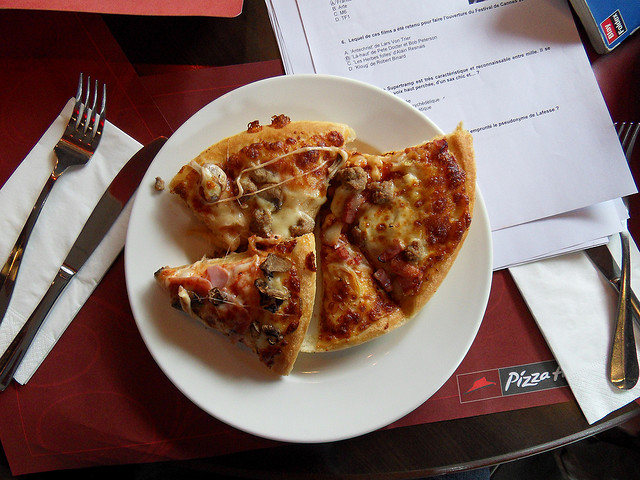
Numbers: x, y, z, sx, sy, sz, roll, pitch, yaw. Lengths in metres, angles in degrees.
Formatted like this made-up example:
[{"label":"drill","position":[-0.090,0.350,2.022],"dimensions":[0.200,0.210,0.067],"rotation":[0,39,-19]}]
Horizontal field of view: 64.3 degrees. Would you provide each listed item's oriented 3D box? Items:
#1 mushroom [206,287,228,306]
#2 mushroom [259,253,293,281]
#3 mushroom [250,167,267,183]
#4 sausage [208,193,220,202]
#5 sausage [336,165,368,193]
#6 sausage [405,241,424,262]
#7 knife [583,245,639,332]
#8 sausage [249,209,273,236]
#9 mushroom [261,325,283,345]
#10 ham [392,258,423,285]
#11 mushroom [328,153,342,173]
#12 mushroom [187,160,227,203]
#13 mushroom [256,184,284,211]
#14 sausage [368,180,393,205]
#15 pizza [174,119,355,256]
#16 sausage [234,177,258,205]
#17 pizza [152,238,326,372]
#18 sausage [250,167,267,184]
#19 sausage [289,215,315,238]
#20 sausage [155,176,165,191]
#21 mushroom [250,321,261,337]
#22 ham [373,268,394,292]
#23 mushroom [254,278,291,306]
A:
[{"label":"mushroom","position":[-0.431,0.238,2.133],"dimensions":[0.095,0.018,0.065],"rotation":[28,85,1]},{"label":"mushroom","position":[-0.187,0.102,2.145],"dimensions":[0.136,0.028,0.097],"rotation":[-20,86,-2]},{"label":"mushroom","position":[-0.262,-0.277,2.179],"dimensions":[0.070,0.025,0.060],"rotation":[-7,85,-1]},{"label":"sausage","position":[-0.454,-0.182,2.179],"dimensions":[0.032,0.009,0.037],"rotation":[0,102,-7]},{"label":"sausage","position":[0.141,-0.261,2.234],"dimensions":[0.134,0.090,0.110],"rotation":[-3,85,-1]},{"label":"sausage","position":[0.406,0.047,2.178],"dimensions":[0.061,0.022,0.092],"rotation":[5,82,4]},{"label":"knife","position":[1.393,0.244,2.445],"dimensions":[0.050,0.052,0.409],"rotation":[-16,78,6]},{"label":"sausage","position":[-0.252,-0.079,2.207],"dimensions":[0.098,0.066,0.112],"rotation":[26,85,2]},{"label":"mushroom","position":[-0.202,0.388,2.140],"dimensions":[0.067,0.019,0.082],"rotation":[-5,100,10]},{"label":"ham","position":[0.378,0.131,2.205],"dimensions":[0.130,0.040,0.090],"rotation":[30,107,19]},{"label":"mushroom","position":[0.069,-0.340,2.240],"dimensions":[0.039,0.025,0.098],"rotation":[22,101,-5]},{"label":"mushroom","position":[-0.468,-0.274,2.188],"dimensions":[0.124,0.059,0.208],"rotation":[-27,86,-3]},{"label":"mushroom","position":[-0.208,-0.188,2.187],"dimensions":[0.086,0.030,0.100],"rotation":[7,109,11]},{"label":"sausage","position":[0.265,-0.207,2.196],"dimensions":[0.089,0.035,0.102],"rotation":[-1,87,9]},{"label":"pizza","position":[-0.217,-0.237,2.270],"dimensions":[0.837,0.221,0.543],"rotation":[-17,86,-2]},{"label":"sausage","position":[-0.317,-0.216,2.227],"dimensions":[0.090,0.029,0.105],"rotation":[-15,90,4]},{"label":"pizza","position":[-0.330,0.304,2.209],"dimensions":[0.646,0.208,0.564],"rotation":[-5,85,-1]},{"label":"sausage","position":[-0.262,-0.281,2.179],"dimensions":[0.056,0.016,0.066],"rotation":[1,96,5]},{"label":"sausage","position":[-0.079,-0.056,2.185],"dimensions":[0.084,0.039,0.101],"rotation":[18,91,-4]},{"label":"sausage","position":[-0.717,-0.253,2.274],"dimensions":[0.038,0.027,0.060],"rotation":[0,85,-1]},{"label":"mushroom","position":[-0.274,0.375,2.152],"dimensions":[0.046,0.017,0.066],"rotation":[0,85,-1]},{"label":"ham","position":[0.281,0.178,2.269],"dimensions":[0.058,0.029,0.115],"rotation":[-29,100,-5]},{"label":"mushroom","position":[-0.198,0.204,2.136],"dimensions":[0.140,0.040,0.112],"rotation":[-13,85,-2]}]
